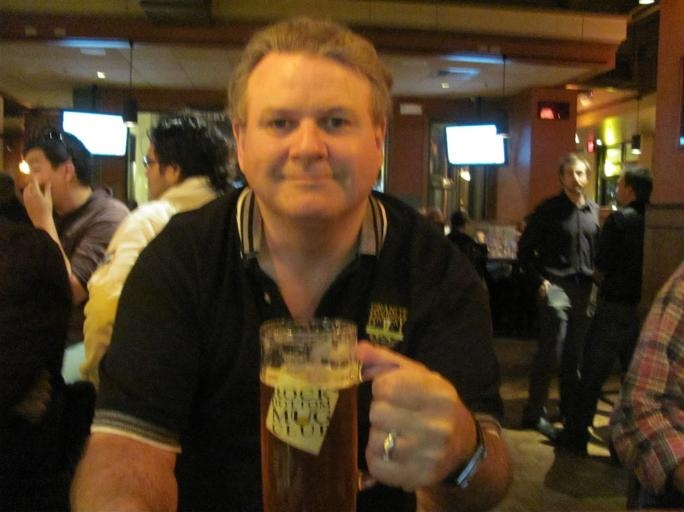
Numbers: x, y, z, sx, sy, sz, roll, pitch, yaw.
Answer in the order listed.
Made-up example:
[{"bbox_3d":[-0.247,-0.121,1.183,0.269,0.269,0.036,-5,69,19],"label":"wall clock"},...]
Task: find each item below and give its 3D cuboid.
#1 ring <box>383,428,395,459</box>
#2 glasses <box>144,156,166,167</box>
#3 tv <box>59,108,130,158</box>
[{"bbox_3d":[0.107,0.427,1.410,0.021,0.062,0.024,5,7,19],"label":"ring"},{"bbox_3d":[-0.851,-0.428,2.765,0.068,0.022,0.066,7,6,-14],"label":"glasses"},{"bbox_3d":[-2.102,-1.034,5.193,0.685,0.438,0.055,1,-1,16],"label":"tv"}]
